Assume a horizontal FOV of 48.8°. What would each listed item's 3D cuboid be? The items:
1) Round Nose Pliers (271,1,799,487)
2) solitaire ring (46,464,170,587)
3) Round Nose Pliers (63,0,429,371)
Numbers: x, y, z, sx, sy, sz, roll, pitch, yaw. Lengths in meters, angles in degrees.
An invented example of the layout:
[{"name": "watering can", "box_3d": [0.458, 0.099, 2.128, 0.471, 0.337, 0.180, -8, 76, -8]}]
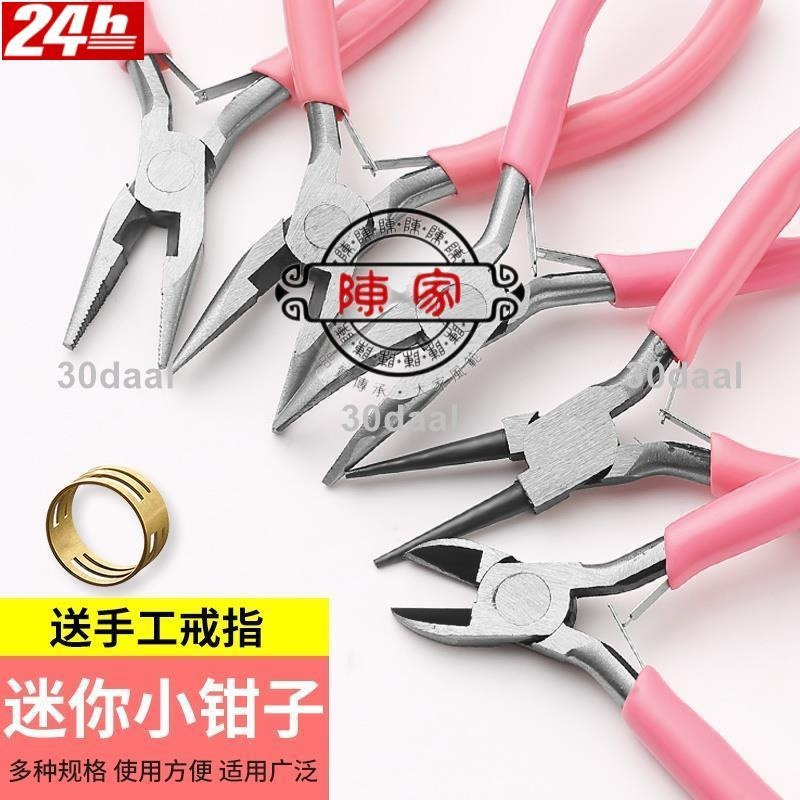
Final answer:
[{"name": "Round Nose Pliers", "box_3d": [0.278, -0.144, 1.247, 0.536, 0.741, 0.101, 48, 9, 14]}, {"name": "solitaire ring", "box_3d": [-0.359, 0.157, 1.094, 0.120, 0.114, 0.042, 18, 26, 19]}, {"name": "Round Nose Pliers", "box_3d": [-0.271, -0.300, 1.354, 0.439, 0.531, 0.095, 17, -16, 5]}]
